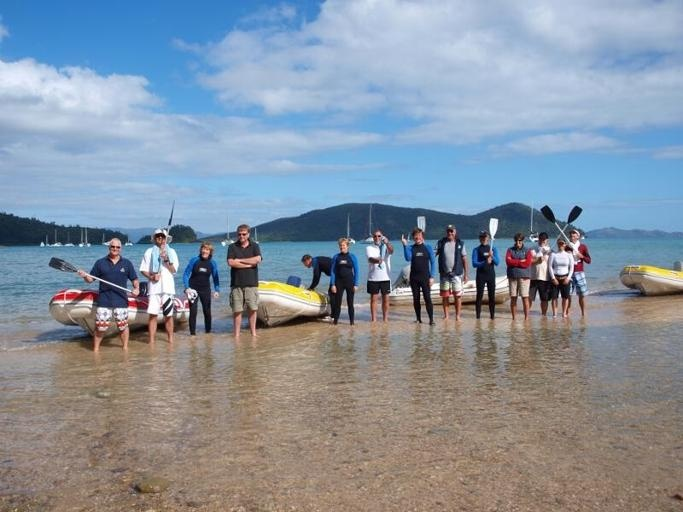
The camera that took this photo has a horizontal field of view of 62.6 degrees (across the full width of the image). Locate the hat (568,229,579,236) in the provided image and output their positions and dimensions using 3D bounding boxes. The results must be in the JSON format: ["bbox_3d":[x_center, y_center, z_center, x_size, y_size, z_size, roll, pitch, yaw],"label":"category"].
[{"bbox_3d":[5.255,-0.524,12.630,0.152,0.169,0.277,1,2,3],"label":"hat"}]

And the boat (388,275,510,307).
[{"bbox_3d":[3.418,1.304,16.940,3.939,0.975,1.243,-2,8,-5],"label":"boat"}]

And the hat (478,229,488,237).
[{"bbox_3d":[3.095,-0.488,12.273,0.162,0.085,0.251,-14,2,31],"label":"hat"}]

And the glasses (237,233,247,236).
[{"bbox_3d":[-1.873,-0.402,10.636,0.175,0.100,0.098,-2,7,-13],"label":"glasses"}]

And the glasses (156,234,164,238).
[{"bbox_3d":[-3.322,-0.373,10.253,0.087,0.049,0.034,-4,8,-31],"label":"glasses"}]

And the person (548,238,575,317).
[{"bbox_3d":[5.054,0.539,12.915,0.542,1.914,0.921,2,7,21],"label":"person"}]

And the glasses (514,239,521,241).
[{"bbox_3d":[3.869,-0.340,12.312,0.162,0.048,0.063,-5,8,-34],"label":"glasses"}]

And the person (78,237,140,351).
[{"bbox_3d":[-4.211,0.715,10.266,0.931,2.152,1.533,-3,7,-21],"label":"person"}]

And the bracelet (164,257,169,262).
[{"bbox_3d":[-3.248,0.059,10.350,0.089,0.088,0.070,-13,18,36],"label":"bracelet"}]

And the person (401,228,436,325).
[{"bbox_3d":[1.686,0.482,12.438,0.724,2.227,1.074,0,7,8],"label":"person"}]

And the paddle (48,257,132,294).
[{"bbox_3d":[-4.657,0.272,9.969,0.211,0.535,3.725,9,2,-40],"label":"paddle"}]

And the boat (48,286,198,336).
[{"bbox_3d":[-4.643,1.103,11.795,1.515,0.759,2.453,-3,-9,28],"label":"boat"}]
